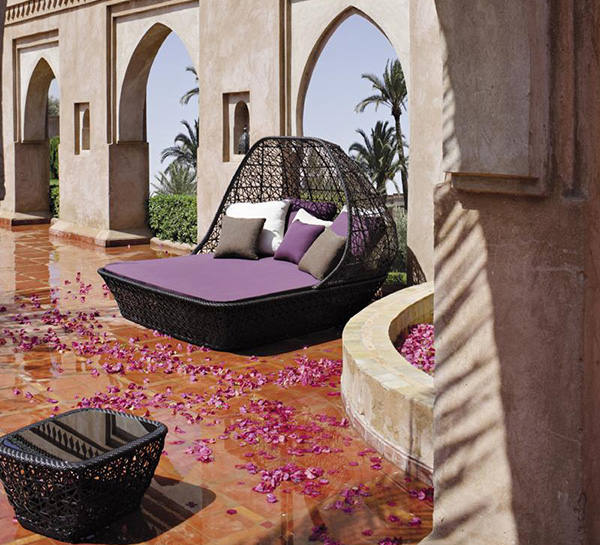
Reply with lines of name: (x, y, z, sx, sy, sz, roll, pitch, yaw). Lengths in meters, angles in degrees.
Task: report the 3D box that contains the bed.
bed: (-0.239, -0.575, 5.911, 2.550, 2.062, 3.396, 9, 12, 40)
